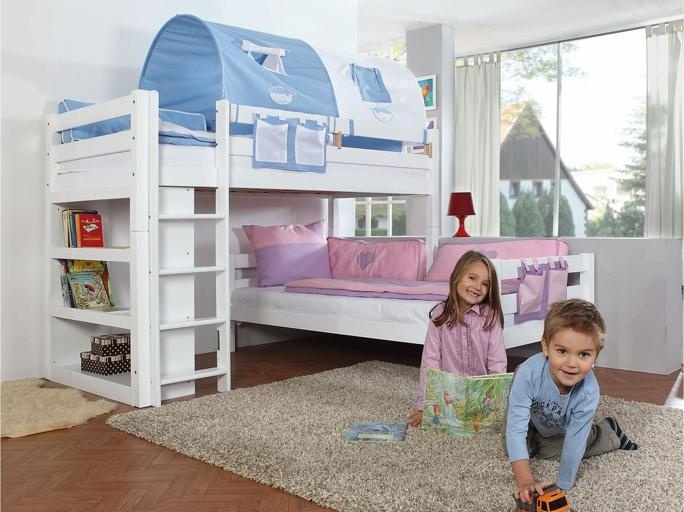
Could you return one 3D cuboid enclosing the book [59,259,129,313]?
[{"bbox_3d":[-1.566,0.184,3.602,0.338,0.308,0.533,9,0,-31],"label":"book"}]

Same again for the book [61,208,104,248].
[{"bbox_3d":[-1.577,-0.165,3.510,0.059,0.261,0.248,-9,-4,35],"label":"book"}]

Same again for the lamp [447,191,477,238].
[{"bbox_3d":[1.127,-0.382,5.383,0.250,0.411,0.248,-1,0,36],"label":"lamp"}]
